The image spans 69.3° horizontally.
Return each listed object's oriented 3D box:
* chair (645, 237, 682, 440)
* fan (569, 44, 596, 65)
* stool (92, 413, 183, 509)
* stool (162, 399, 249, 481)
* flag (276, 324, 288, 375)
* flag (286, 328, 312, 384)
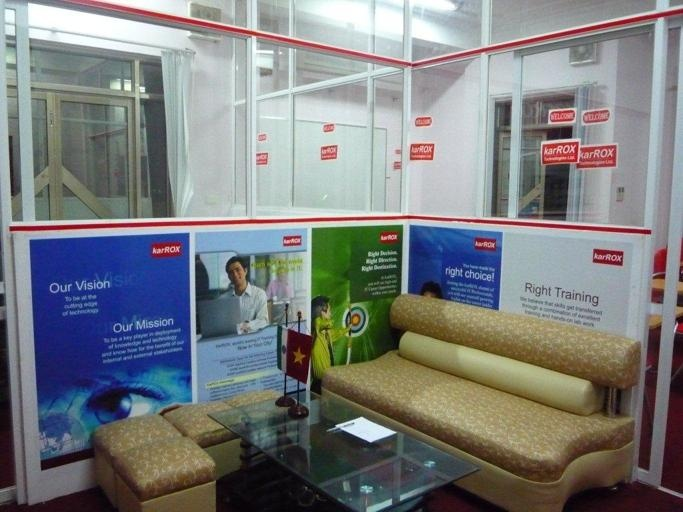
[{"bbox_3d":[2.327,0.591,3.595,0.254,1.405,0.166,-1,10,4],"label":"chair"},{"bbox_3d":[1.856,-1.568,3.804,0.063,0.190,0.191,6,-4,-38],"label":"fan"},{"bbox_3d":[-1.367,1.294,3.333,0.516,0.485,0.533,-3,12,-31],"label":"stool"},{"bbox_3d":[-0.989,1.215,3.563,0.517,0.388,0.502,-3,10,-39],"label":"stool"},{"bbox_3d":[-0.422,0.660,3.534,0.052,0.353,0.249,-5,10,-16],"label":"flag"},{"bbox_3d":[-0.270,0.677,3.332,0.175,0.354,0.305,-6,10,-20],"label":"flag"}]
